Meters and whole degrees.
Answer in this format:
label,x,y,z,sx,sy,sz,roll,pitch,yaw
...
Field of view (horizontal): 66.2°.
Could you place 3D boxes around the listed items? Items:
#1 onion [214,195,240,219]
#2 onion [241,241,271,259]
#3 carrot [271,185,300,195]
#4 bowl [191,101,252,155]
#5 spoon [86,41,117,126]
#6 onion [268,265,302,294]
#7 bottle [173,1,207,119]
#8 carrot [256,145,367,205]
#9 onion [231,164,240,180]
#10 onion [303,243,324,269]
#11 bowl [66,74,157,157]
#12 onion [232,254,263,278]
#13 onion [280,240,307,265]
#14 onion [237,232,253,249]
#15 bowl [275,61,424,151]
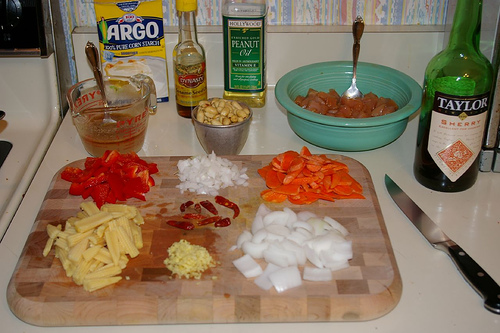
label,x,y,z,sx,sy,sz,roll,pitch,yaw
onion,-0.067,0.121,1.131,0.075,0.016,0.042,34,71,28
onion,0.019,0.214,1.003,0.050,0.019,0.046,-21,48,-27
carrot,0.110,0.073,1.160,0.083,0.019,0.032,5,33,7
bowl,-0.093,-0.123,1.342,0.193,0.147,0.192,3,30,-2
spoon,-0.491,-0.264,1.295,0.040,0.292,0.060,13,31,43
onion,0.089,0.276,0.943,0.081,0.044,0.061,-2,21,6
bottle,-0.232,-0.376,1.453,0.123,0.385,0.157,-12,34,-17
carrot,0.190,0.050,1.251,0.220,0.051,0.184,-26,76,1
onion,-0.041,0.017,1.211,0.030,0.011,0.037,3,67,-17
onion,0.161,0.230,0.992,0.013,0.039,0.050,-35,56,15
bowl,-0.475,-0.179,1.393,0.263,0.224,0.326,26,41,26
onion,0.000,0.250,0.973,0.043,0.020,0.060,-9,38,-29
onion,0.116,0.229,1.012,0.052,0.020,0.054,34,20,-22
onion,-0.012,0.192,1.004,0.038,0.018,0.031,7,47,3
bowl,0.360,-0.216,1.376,0.415,0.165,0.414,-5,31,3
